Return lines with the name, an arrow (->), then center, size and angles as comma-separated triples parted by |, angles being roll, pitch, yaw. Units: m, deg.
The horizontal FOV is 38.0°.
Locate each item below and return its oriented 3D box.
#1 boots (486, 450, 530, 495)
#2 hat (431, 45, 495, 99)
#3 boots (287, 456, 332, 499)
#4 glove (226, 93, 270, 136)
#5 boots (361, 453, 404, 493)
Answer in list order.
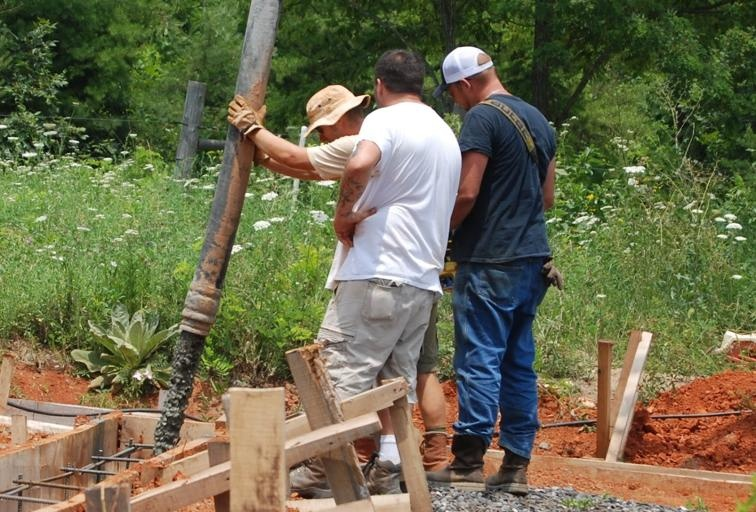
boots -> 1.571, 2.657, 13.558 | 0.564, 0.598, 0.249 | -7, -23, 41
hat -> 1.062, -2.351, 13.777 | 0.701, 0.429, 0.531 | -21, 10, 34
boots -> -0.807, 2.655, 13.400 | 0.620, 0.480, 0.239 | 5, 8, 39
glove -> -1.611, -1.727, 13.496 | 0.446, 0.495, 0.273 | 2, 4, -11
boots -> 0.016, 2.533, 13.347 | 0.223, 0.445, 0.642 | -23, -30, -24
